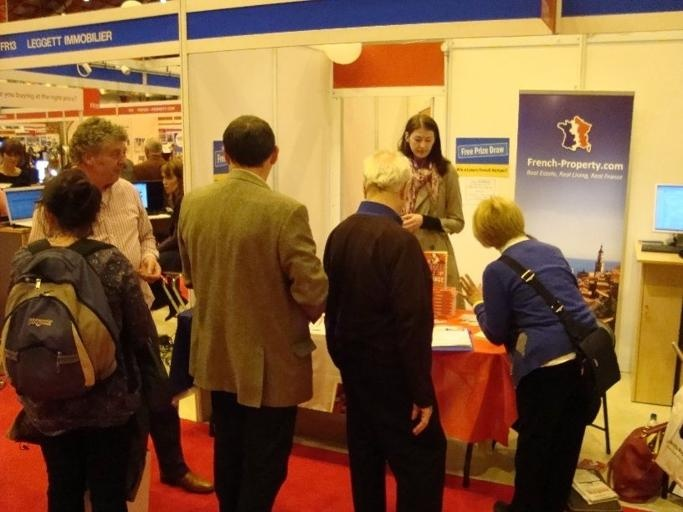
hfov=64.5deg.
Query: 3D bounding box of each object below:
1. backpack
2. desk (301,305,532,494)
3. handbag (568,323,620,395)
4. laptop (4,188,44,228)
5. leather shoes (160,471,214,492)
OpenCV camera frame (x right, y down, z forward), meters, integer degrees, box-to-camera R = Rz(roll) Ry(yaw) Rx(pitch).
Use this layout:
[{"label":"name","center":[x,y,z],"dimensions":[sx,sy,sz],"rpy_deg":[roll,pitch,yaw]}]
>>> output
[{"label":"backpack","center":[-1.166,0.276,2.238],"dimensions":[0.450,0.660,0.226],"rpy_deg":[-1,7,-24]},{"label":"desk","center":[0.570,1.084,3.465],"dimensions":[1.255,0.546,1.319],"rpy_deg":[13,-35,-3]},{"label":"handbag","center":[1.275,0.516,2.680],"dimensions":[0.183,0.354,0.294],"rpy_deg":[9,10,42]},{"label":"laptop","center":[-2.867,-0.424,4.849],"dimensions":[0.258,0.273,0.381],"rpy_deg":[12,15,17]},{"label":"leather shoes","center":[-0.925,1.390,3.305],"dimensions":[0.312,0.131,0.125],"rpy_deg":[5,-1,9]}]
